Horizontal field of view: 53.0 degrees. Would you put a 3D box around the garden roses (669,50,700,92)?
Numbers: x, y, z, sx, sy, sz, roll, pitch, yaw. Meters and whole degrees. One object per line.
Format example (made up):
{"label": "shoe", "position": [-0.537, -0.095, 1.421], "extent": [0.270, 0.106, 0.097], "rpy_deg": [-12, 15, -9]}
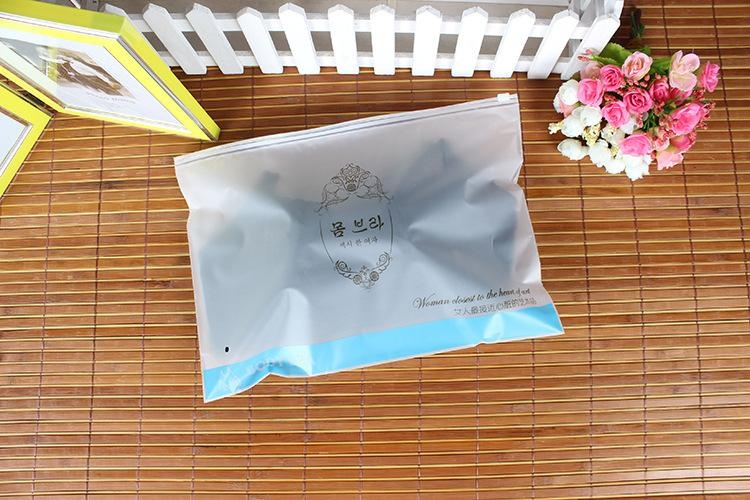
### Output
{"label": "garden roses", "position": [0.992, -0.582, 2.435], "extent": [0.135, 0.114, 0.061], "rpy_deg": [1, 24, 6]}

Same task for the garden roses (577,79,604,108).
{"label": "garden roses", "position": [0.698, -0.515, 2.464], "extent": [0.101, 0.082, 0.043], "rpy_deg": [-6, 19, 21]}

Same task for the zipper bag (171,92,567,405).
{"label": "zipper bag", "position": [-0.042, -0.019, 2.501], "extent": [1.256, 0.818, 0.126], "rpy_deg": [-12, -7, -2]}

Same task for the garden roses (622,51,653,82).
{"label": "garden roses", "position": [0.844, -0.604, 2.479], "extent": [0.088, 0.094, 0.056], "rpy_deg": [31, 35, 11]}

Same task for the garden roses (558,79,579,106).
{"label": "garden roses", "position": [0.646, -0.526, 2.510], "extent": [0.082, 0.072, 0.035], "rpy_deg": [-10, 6, 40]}

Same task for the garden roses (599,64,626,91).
{"label": "garden roses", "position": [0.768, -0.564, 2.459], "extent": [0.083, 0.085, 0.040], "rpy_deg": [-37, 5, 22]}
